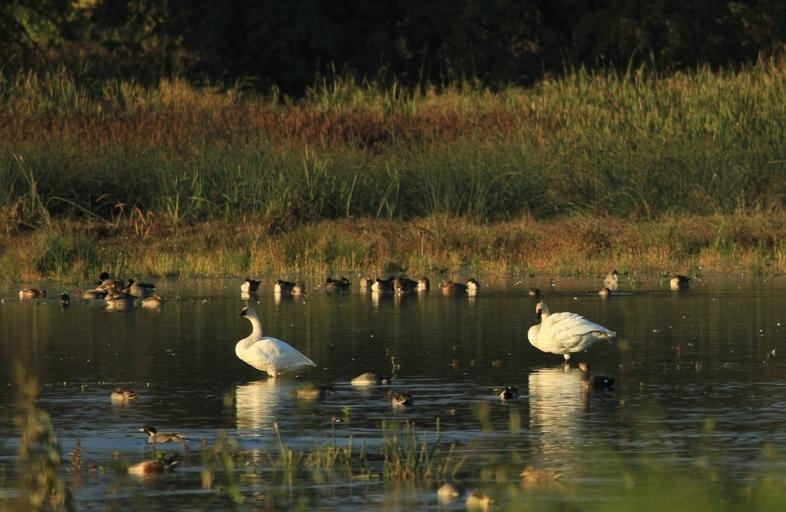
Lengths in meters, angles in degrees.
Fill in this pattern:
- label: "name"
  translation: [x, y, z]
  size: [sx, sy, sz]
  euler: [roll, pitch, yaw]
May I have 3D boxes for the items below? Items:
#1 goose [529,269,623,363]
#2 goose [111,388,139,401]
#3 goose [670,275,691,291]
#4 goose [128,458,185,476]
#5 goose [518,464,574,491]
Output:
- label: "goose"
  translation: [3.543, 1.697, 33.464]
  size: [1.627, 1.085, 1.949]
  euler: [1, 12, 2]
- label: "goose"
  translation: [-5.175, 2.679, 30.982]
  size: [0.521, 0.185, 0.387]
  euler: [1, 12, 0]
- label: "goose"
  translation: [7.339, 0.706, 42.027]
  size: [0.408, 0.321, 0.425]
  euler: [-1, 5, -5]
- label: "goose"
  translation: [-4.114, 3.692, 28.229]
  size: [0.987, 0.441, 0.322]
  euler: [-5, 15, -5]
- label: "goose"
  translation: [2.515, 3.851, 27.854]
  size: [0.612, 0.393, 0.344]
  euler: [-4, -8, 1]
